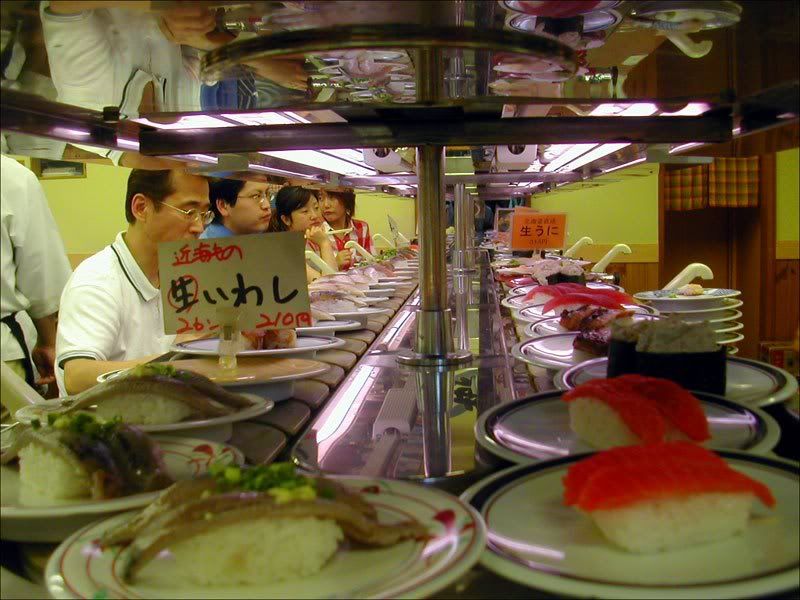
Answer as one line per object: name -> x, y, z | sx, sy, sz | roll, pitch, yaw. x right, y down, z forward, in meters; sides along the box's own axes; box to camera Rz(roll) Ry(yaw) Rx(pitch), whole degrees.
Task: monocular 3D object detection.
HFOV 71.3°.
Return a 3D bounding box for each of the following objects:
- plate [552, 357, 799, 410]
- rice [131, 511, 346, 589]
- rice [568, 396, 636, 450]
plate -> 0.510, 0.139, 0.923 | 0.183, 0.023, 0.159 | -2, 16, -1
rice -> -0.143, 0.213, 0.473 | 0.180, 0.057, 0.028 | -3, 7, -6
rice -> 0.262, 0.157, 0.728 | 0.029, 0.058, 0.072 | -10, 11, -37
